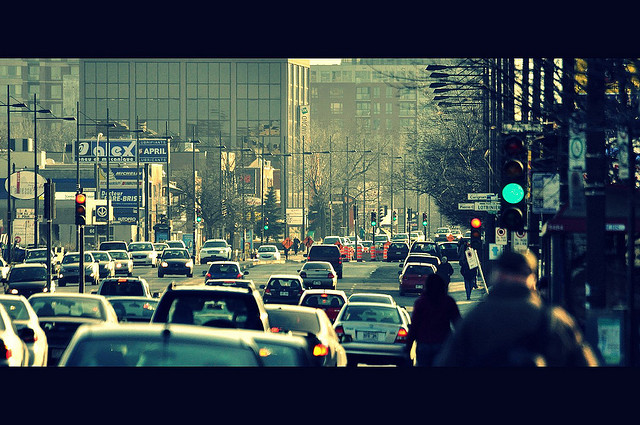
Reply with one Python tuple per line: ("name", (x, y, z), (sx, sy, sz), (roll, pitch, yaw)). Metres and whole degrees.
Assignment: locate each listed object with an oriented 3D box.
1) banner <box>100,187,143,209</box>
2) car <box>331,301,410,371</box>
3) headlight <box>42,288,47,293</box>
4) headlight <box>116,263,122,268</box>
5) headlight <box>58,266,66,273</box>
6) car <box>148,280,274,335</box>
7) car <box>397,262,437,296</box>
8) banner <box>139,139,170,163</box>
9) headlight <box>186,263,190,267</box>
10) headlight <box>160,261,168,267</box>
("banner", (-14.928, -1.037, 83.511), (3.187, 1.866, 8.659), (0, 3, -10))
("car", (1.246, 2.946, 27.955), (1.760, 1.448, 4.360), (4, 0, 1))
("headlight", (-10.358, 2.928, 41.653), (0.150, 0.163, 0.037), (-5, -19, 1))
("headlight", (-9.962, 2.635, 54.719), (0.206, 0.204, 0.051), (2, -1, -1))
("headlight", (-11.692, 2.583, 49.945), (0.214, 0.313, 0.506), (1, -1, -33))
("car", (-2.007, 2.011, 21.103), (1.826, 1.281, 3.549), (0, 0, 1))
("car", (3.875, 2.847, 45.797), (1.351, 1.230, 2.421), (0, 5, 1))
("banner", (-11.316, -4.164, 75.220), (1.742, 1.344, 0.238), (0, -6, -7))
("headlight", (-6.705, 2.639, 55.842), (0.184, 0.197, 0.045), (-1, -2, -17))
("headlight", (-7.949, 2.650, 56.306), (0.156, 0.303, 0.576), (-1, 3, -34))
